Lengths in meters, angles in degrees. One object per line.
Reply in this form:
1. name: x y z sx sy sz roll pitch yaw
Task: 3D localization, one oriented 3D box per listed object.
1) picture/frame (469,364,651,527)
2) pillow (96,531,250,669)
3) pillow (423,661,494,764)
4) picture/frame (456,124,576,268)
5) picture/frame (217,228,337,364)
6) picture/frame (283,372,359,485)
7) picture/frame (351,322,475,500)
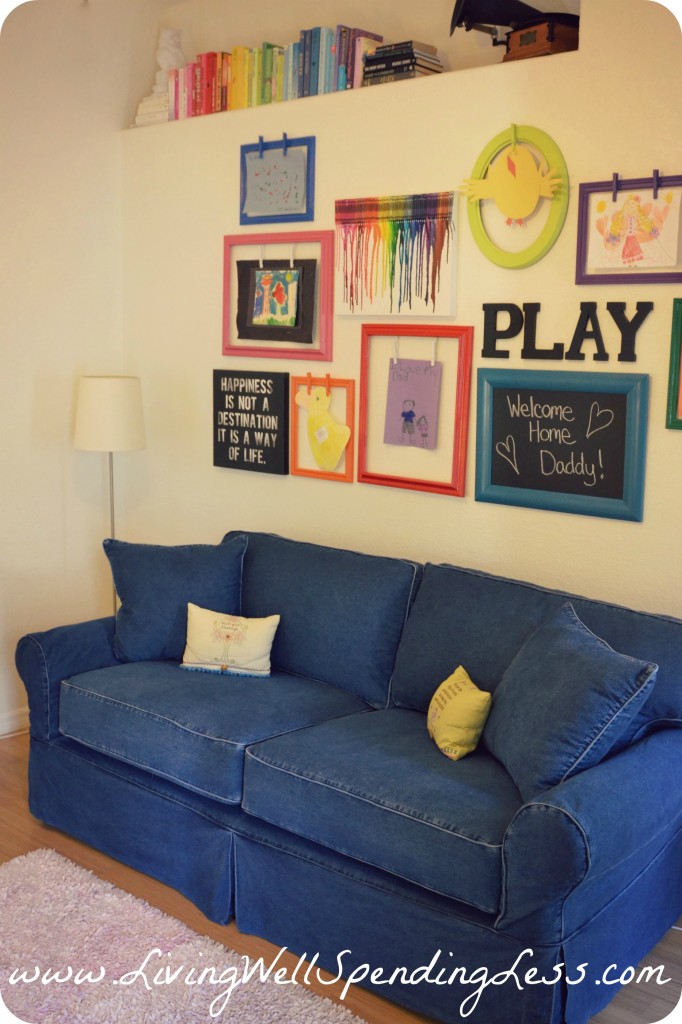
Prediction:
1. picture/frame: 0.627 -0.192 2.255 0.424 0.368 0.029 11 16 43
2. pillow: -0.542 0.287 2.683 0.419 0.406 0.158 -1 0 -9
3. pillow: 0.282 0.482 1.945 0.114 0.162 0.224 4 6 -7
4. picture/frame: 0.505 -0.896 2.280 0.052 0.453 0.408 -6 13 -41
5. picture/frame: -0.244 -0.789 3.012 0.408 0.404 0.027 6 14 17
6. picture/frame: -0.061 -0.313 2.923 0.368 0.451 0.029 8 10 43
7. picture/frame: 0.249 -0.340 2.628 0.515 0.627 0.033 10 11 44
